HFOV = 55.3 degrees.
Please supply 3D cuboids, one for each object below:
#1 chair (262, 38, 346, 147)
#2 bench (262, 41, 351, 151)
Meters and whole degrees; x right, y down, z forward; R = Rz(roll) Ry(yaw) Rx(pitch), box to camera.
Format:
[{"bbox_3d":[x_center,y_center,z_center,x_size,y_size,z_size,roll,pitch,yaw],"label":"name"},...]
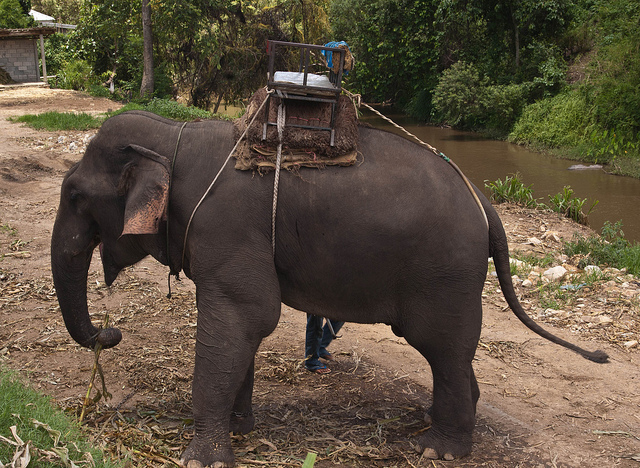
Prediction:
[{"bbox_3d":[-0.149,-1.125,4.880,0.671,0.683,1.108,8,13,2],"label":"chair"},{"bbox_3d":[-0.113,-1.045,4.549,0.613,0.707,0.529,5,18,-1],"label":"bench"}]
